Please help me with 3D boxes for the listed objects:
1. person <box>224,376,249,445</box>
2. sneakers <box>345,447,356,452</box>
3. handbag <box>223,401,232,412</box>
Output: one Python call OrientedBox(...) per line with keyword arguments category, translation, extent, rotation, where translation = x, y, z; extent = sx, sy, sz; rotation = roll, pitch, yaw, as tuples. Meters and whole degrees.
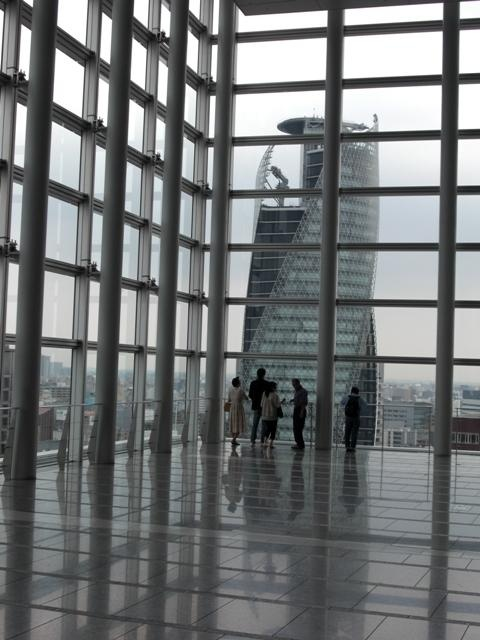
OrientedBox(category="person", translation=(-0.098, 2.029, 13.961), extent=(0.491, 1.479, 1.864), rotation=(3, -8, -1))
OrientedBox(category="sneakers", translation=(2.302, 2.705, 13.153), extent=(0.120, 0.074, 0.188), rotation=(1, 0, 11))
OrientedBox(category="handbag", translation=(-0.262, 1.859, 13.482), extent=(0.164, 0.349, 0.175), rotation=(-1, -13, 2))
